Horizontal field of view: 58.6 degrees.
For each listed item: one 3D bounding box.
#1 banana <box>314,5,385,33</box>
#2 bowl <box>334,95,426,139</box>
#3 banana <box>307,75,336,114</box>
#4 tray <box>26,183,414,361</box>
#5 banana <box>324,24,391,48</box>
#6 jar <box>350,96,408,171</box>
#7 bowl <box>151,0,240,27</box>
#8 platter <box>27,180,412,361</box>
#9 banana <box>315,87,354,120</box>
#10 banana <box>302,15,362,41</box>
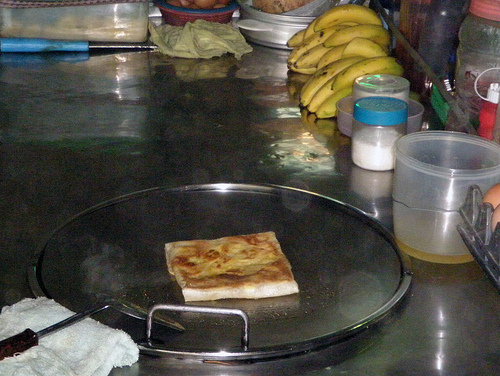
[{"bbox_3d":[0.370,-0.631,1.705,0.361,0.116,0.061,-2,28,1],"label":"banana"},{"bbox_3d":[0.337,-0.196,1.219,0.250,0.052,0.173,-2,20,1],"label":"bowl"},{"bbox_3d":[0.192,-0.289,1.377,0.104,0.099,0.096,-2,31,4],"label":"banana"},{"bbox_3d":[-0.026,0.110,0.729,0.533,0.052,0.419,-18,42,-27],"label":"tray"},{"bbox_3d":[0.382,-0.542,1.575,0.355,0.063,0.065,-12,31,-33],"label":"banana"},{"bbox_3d":[0.307,-0.127,1.063,0.126,0.176,0.094,-3,34,11],"label":"jar"},{"bbox_3d":[-0.220,-0.776,1.948,0.360,0.115,0.153,-6,27,-2],"label":"bowl"},{"bbox_3d":[-0.023,0.109,0.734,0.599,0.048,0.378,4,35,-4],"label":"platter"},{"bbox_3d":[0.249,-0.253,1.341,0.184,0.038,0.052,-22,8,14],"label":"banana"},{"bbox_3d":[0.268,-0.629,1.738,0.285,0.090,0.219,1,25,5],"label":"banana"}]
